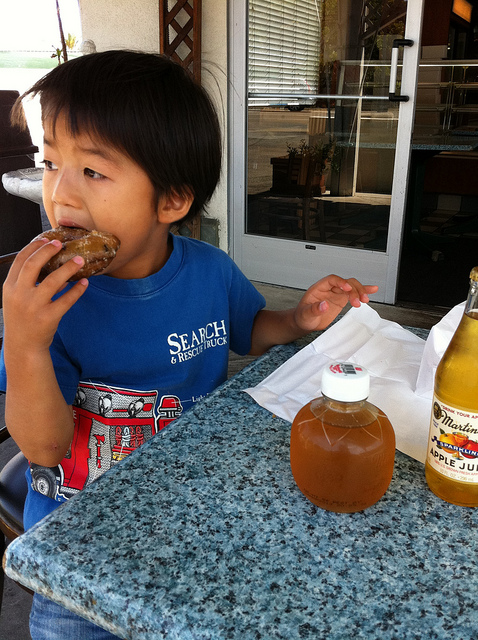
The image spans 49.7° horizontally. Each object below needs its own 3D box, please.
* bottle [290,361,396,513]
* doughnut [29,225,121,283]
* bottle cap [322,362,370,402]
[{"bbox_3d":[0.102,0.117,0.516,0.109,0.137,0.100,-1,18,0],"label":"bottle"},{"bbox_3d":[-0.218,-0.103,0.692,0.084,0.027,0.095,19,30,15],"label":"doughnut"},{"bbox_3d":[0.087,0.059,0.477,0.060,0.028,0.058,-2,-6,21],"label":"bottle cap"}]
